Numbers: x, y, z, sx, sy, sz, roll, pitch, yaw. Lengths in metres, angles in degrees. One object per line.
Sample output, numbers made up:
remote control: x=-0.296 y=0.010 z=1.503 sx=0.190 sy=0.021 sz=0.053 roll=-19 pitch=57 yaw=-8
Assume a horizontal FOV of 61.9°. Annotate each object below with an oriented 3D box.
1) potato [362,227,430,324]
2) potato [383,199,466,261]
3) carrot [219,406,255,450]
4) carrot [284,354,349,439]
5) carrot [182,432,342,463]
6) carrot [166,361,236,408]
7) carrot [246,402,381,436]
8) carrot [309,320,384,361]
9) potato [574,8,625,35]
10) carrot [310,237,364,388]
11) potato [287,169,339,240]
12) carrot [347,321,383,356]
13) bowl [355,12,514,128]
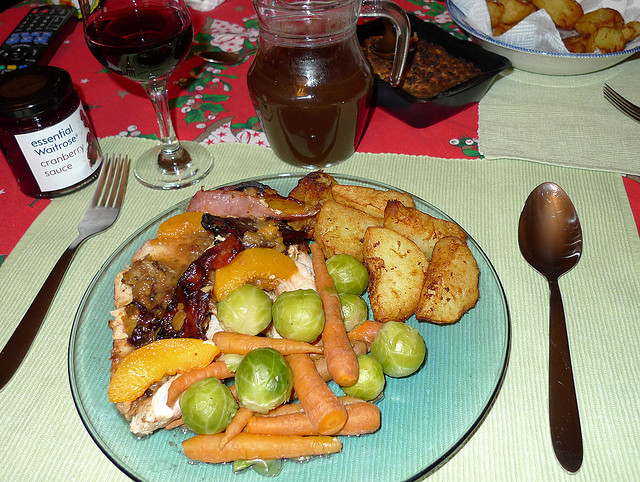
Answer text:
potato: x=0.289 y=0.122 z=1.944 sx=0.236 sy=0.115 sz=0.396 roll=-6 pitch=46 yaw=4
potato: x=0.375 y=-0.045 z=1.962 sx=0.296 sy=0.081 sz=0.186 roll=13 pitch=71 yaw=-11
carrot: x=-0.269 y=0.585 z=1.685 sx=0.054 sy=0.053 sz=0.219 roll=29 pitch=15 yaw=7
carrot: x=-0.018 y=0.494 z=1.762 sx=0.100 sy=0.107 sz=0.342 roll=-21 pitch=27 yaw=-14
carrot: x=-0.174 y=0.618 z=1.619 sx=0.476 sy=0.053 sz=0.085 roll=-2 pitch=54 yaw=-3
carrot: x=-0.404 y=0.452 z=1.762 sx=0.146 sy=0.108 sz=0.220 roll=17 pitch=27 yaw=34
carrot: x=-0.015 y=0.556 z=1.657 sx=0.267 sy=0.078 sz=0.075 roll=1 pitch=49 yaw=11
carrot: x=0.128 y=0.333 z=1.989 sx=0.081 sy=0.304 sz=0.091 roll=-2 pitch=87 yaw=-41
potato: x=1.458 y=-1.162 z=2.789 sx=0.197 sy=0.063 sz=0.152 roll=-8 pitch=76 yaw=21
carrot: x=0.052 y=0.309 z=1.910 sx=0.098 sy=0.100 sz=0.527 roll=-10 pitch=33 yaw=-4
potato: x=-0.030 y=-0.141 z=2.118 sx=0.192 sy=0.068 sz=0.271 roll=1 pitch=74 yaw=31
carrot: x=0.153 y=0.334 z=1.877 sx=0.077 sy=0.049 sz=0.143 roll=30 pitch=46 yaw=9
bowl: x=0.527 y=-0.895 z=2.750 sx=0.826 sy=0.224 sz=0.587 roll=37 pitch=64 yaw=27
